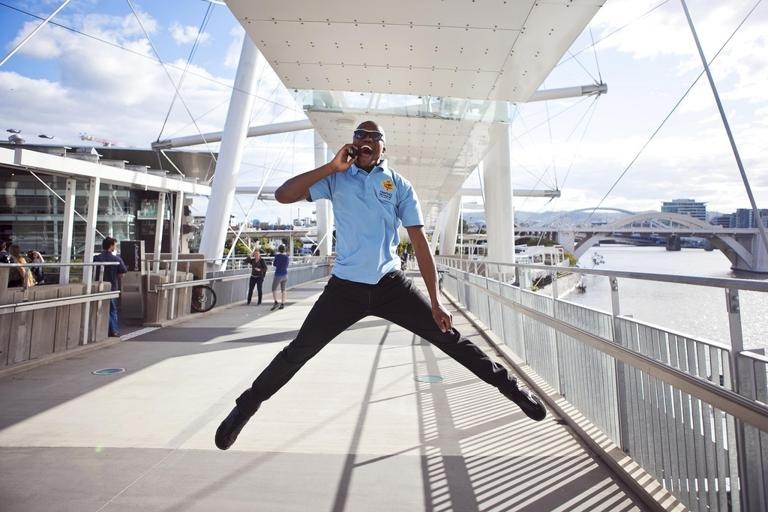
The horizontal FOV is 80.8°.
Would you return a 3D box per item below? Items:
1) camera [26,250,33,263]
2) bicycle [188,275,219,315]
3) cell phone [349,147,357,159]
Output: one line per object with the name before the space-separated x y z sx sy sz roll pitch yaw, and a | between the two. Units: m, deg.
camera | -9.922 0.002 12.542 0.270 0.346 0.121 4 10 -7
bicycle | -5.749 1.276 14.339 0.459 0.936 0.959 1 2 12
cell phone | -0.281 -0.897 3.932 0.107 0.096 0.030 2 -1 -6
